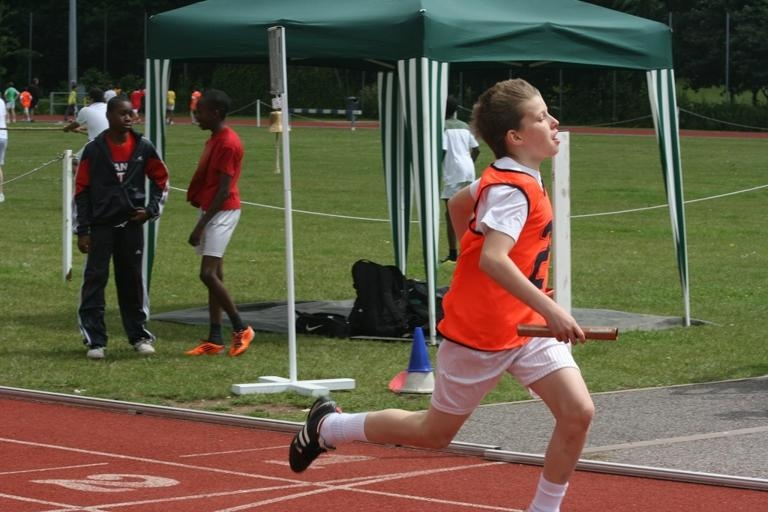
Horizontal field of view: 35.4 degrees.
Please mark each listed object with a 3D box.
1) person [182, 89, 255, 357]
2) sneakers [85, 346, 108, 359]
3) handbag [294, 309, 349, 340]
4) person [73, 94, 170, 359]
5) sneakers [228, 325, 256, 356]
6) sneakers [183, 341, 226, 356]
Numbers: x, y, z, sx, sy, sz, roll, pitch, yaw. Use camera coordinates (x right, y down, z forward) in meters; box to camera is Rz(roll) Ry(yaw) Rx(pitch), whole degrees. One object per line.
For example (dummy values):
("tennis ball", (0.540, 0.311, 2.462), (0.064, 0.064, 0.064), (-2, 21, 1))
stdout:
("person", (-1.724, -0.359, 12.660), (0.684, 2.791, 0.615), (2, 5, -16))
("sneakers", (-2.947, 1.010, 12.368), (0.220, 0.106, 0.097), (3, -3, 14))
("handbag", (-0.675, 0.781, 13.445), (0.541, 0.114, 0.303), (3, 5, 12))
("person", (-2.731, -0.306, 12.496), (0.910, 2.701, 0.550), (1, 5, -19))
("sneakers", (-1.473, 0.876, 12.634), (0.154, 0.388, 0.198), (45, 16, 31))
("sneakers", (-1.883, 0.993, 12.608), (0.454, 0.120, 0.139), (0, -2, -8))
